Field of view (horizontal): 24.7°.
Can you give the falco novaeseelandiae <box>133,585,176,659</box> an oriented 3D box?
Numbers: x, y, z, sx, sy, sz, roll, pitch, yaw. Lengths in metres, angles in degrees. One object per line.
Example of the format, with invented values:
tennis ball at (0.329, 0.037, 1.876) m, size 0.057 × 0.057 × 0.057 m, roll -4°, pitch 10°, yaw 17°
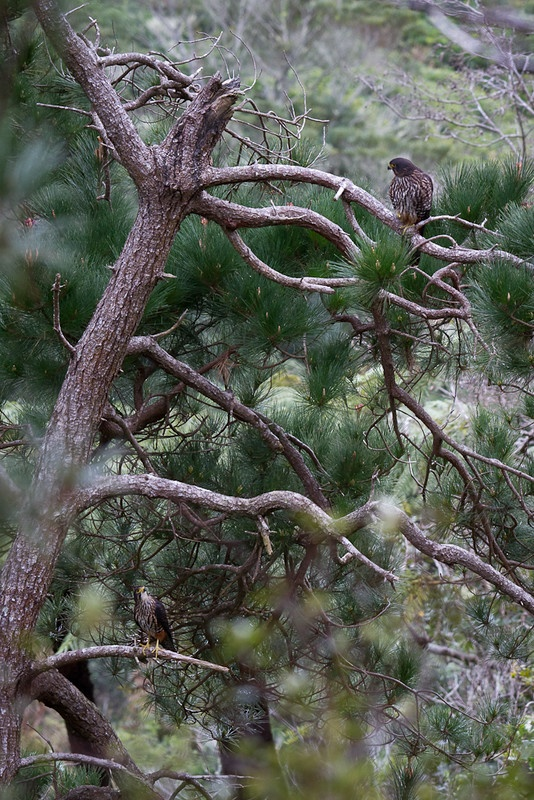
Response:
falco novaeseelandiae at (-0.391, 0.827, 4.199) m, size 0.146 × 0.323 × 0.293 m, roll 2°, pitch 27°, yaw -4°
